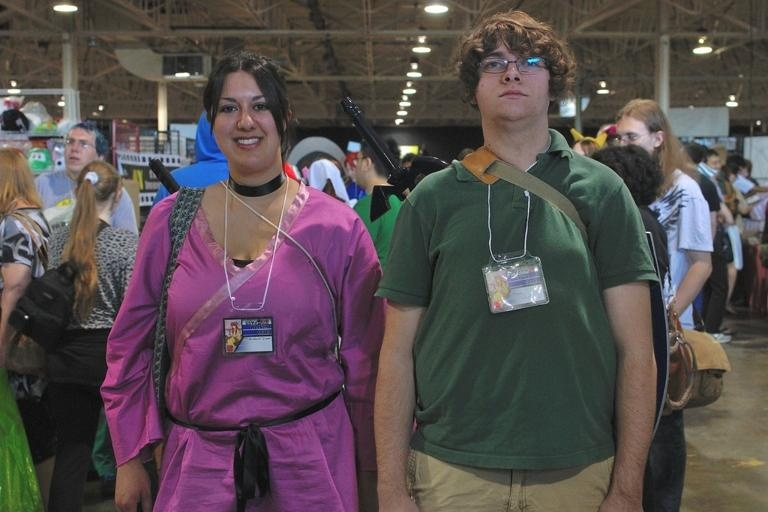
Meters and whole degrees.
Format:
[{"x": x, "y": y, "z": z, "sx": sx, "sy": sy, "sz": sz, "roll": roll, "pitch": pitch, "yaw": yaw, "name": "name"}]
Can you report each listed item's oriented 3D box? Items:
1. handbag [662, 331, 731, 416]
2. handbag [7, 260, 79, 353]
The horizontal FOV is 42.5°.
[{"x": 1.953, "y": 0.668, "z": 6.356, "sx": 0.560, "sy": 0.588, "sz": 0.337, "roll": 6, "pitch": -12, "yaw": -44, "name": "handbag"}, {"x": -2.354, "y": 0.334, "z": 6.817, "sx": 0.288, "sy": 0.550, "sz": 0.381, "roll": 25, "pitch": 5, "yaw": 43, "name": "handbag"}]
